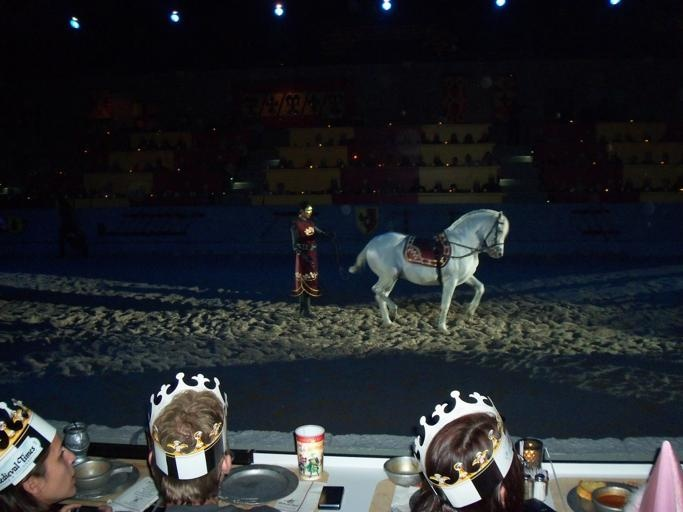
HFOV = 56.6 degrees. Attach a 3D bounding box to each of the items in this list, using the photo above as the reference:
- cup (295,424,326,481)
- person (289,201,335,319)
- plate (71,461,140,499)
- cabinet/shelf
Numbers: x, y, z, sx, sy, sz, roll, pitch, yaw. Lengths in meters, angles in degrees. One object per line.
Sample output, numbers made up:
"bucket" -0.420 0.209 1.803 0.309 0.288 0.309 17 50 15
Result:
"cup" -0.120 0.740 2.421 0.110 0.201 0.097 0 4 -5
"person" -0.223 0.028 4.586 0.265 0.815 0.124 0 4 -5
"plate" -0.899 0.841 2.405 0.143 0.039 0.135 10 15 7
"cabinet/shelf" 0.199 -0.625 4.393 3.583 0.554 0.340 1 4 5
